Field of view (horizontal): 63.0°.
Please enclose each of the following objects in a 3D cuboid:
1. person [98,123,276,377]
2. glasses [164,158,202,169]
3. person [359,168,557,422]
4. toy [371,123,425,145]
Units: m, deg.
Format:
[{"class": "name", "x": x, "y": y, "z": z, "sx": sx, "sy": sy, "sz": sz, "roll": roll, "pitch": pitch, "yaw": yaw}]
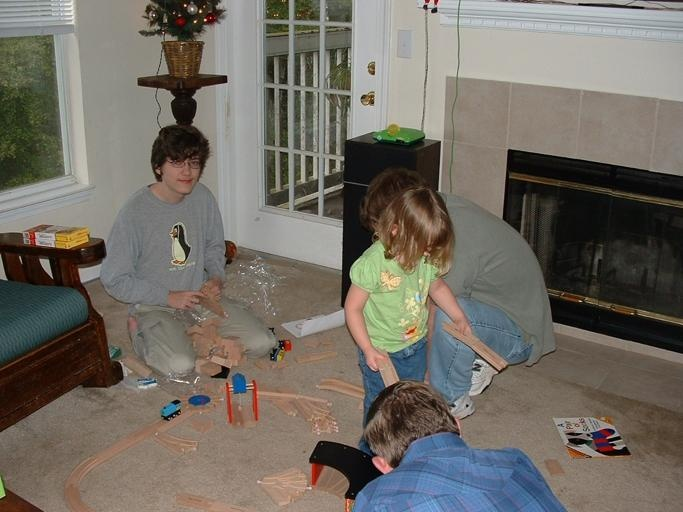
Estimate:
[{"class": "person", "x": -0.716, "y": -0.035, "z": 2.764, "sx": 0.916, "sy": 1.070, "sz": 0.873, "roll": 4, "pitch": 23, "yaw": -12}, {"class": "glasses", "x": -0.745, "y": -0.447, "z": 2.701, "sx": 0.066, "sy": 0.057, "sz": 0.198, "roll": 18, "pitch": 24, "yaw": 40}, {"class": "person", "x": 0.661, "y": 0.089, "z": 2.834, "sx": 1.094, "sy": 1.345, "sz": 0.755, "roll": -3, "pitch": 18, "yaw": 15}, {"class": "toy", "x": 0.340, "y": -0.692, "z": 3.157, "sx": 0.287, "sy": 0.104, "sz": 0.183, "roll": -16, "pitch": 25, "yaw": -42}]
